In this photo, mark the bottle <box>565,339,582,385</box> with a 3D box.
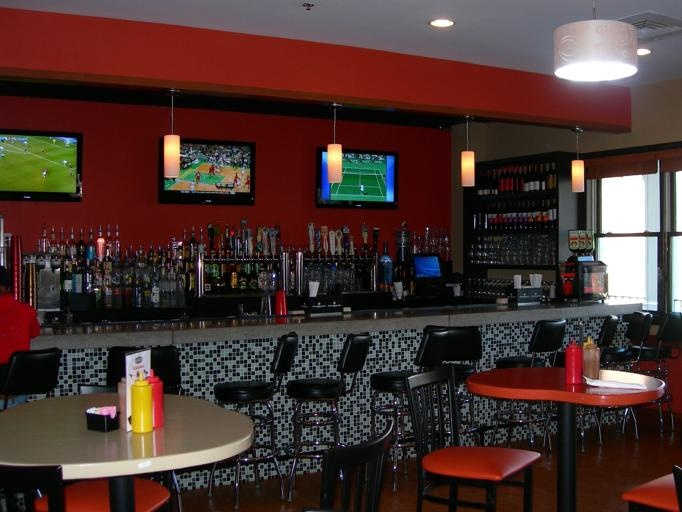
[{"bbox_3d":[1.375,0.628,3.791,0.104,0.184,0.187,-2,1,20],"label":"bottle"}]

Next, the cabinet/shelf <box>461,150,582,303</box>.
[{"bbox_3d":[2.451,-0.420,8.555,0.530,2.950,1.842,2,-4,-33],"label":"cabinet/shelf"}]

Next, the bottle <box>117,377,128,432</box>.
[{"bbox_3d":[-1.010,0.685,2.979,0.039,0.249,0.139,-3,1,-19],"label":"bottle"}]

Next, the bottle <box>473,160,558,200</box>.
[{"bbox_3d":[2.403,-1.088,8.932,0.213,0.387,1.460,-3,1,-27],"label":"bottle"}]

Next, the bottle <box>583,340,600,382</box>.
[{"bbox_3d":[1.494,0.614,3.846,0.079,0.183,0.141,-2,1,34],"label":"bottle"}]

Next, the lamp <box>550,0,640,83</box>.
[{"bbox_3d":[1.485,-1.217,3.779,0.433,0.300,0.369,-4,1,-26],"label":"lamp"}]

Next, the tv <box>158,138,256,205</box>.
[{"bbox_3d":[-1.736,-1.071,8.111,0.809,0.655,0.062,0,3,-17],"label":"tv"}]

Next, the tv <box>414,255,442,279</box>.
[{"bbox_3d":[1.118,0.136,8.334,0.403,0.260,0.144,-3,1,-16],"label":"tv"}]
